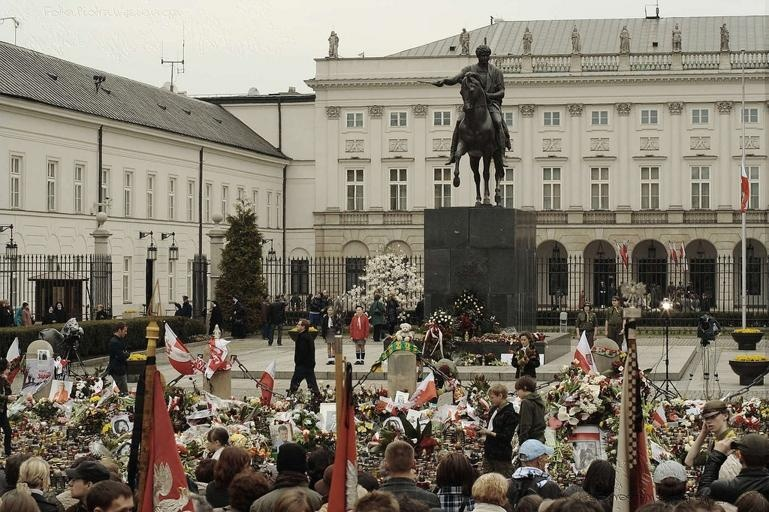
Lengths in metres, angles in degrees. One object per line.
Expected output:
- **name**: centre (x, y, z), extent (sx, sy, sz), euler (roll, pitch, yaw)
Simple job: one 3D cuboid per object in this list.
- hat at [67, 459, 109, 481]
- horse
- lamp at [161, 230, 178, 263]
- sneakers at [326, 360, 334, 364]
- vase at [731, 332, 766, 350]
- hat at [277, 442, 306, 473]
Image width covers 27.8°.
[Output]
- **hat**: centre (-7.757, 5.658, 40.822), extent (0.807, 0.481, 0.578), euler (7, -6, 5)
- **horse**: centre (3.472, -4.346, 57.537), extent (1.728, 5.039, 1.448), euler (-2, 3, 22)
- **lamp**: centre (-11.631, -0.498, 85.046), extent (0.701, 1.683, 1.622), euler (0, -5, 10)
- **sneakers**: centre (-2.040, 4.057, 59.228), extent (0.343, 0.148, 0.118), euler (0, -3, 30)
- **vase**: centre (14.134, 3.311, 60.479), extent (0.825, 0.461, 0.837), euler (0, -6, 1)
- **hat**: centre (-2.437, 5.354, 41.170), extent (0.645, 0.764, 0.780), euler (0, -4, -8)
